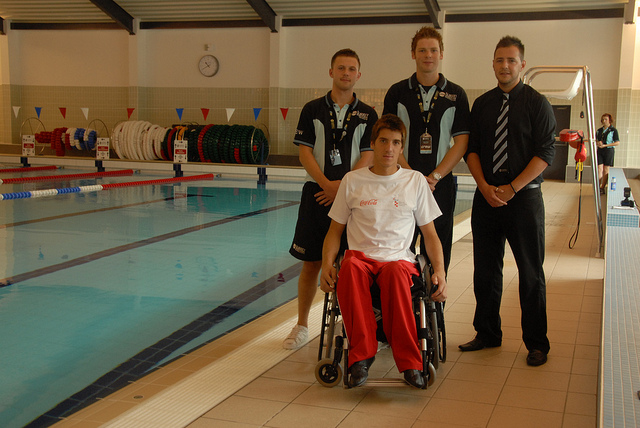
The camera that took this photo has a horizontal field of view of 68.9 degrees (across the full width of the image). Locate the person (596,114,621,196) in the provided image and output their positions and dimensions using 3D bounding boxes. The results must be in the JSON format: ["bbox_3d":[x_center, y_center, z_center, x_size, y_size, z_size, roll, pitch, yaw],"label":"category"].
[{"bbox_3d":[6.038,-1.331,9.877,0.419,1.552,1.769,5,14,31],"label":"person"}]

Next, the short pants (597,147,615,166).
[{"bbox_3d":[6.105,-1.253,10.005,0.314,0.361,0.335,4,14,26],"label":"short pants"}]

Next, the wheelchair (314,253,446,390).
[{"bbox_3d":[0.350,0.603,2.606,0.740,0.690,0.510,0,12,7],"label":"wheelchair"}]

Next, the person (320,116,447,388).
[{"bbox_3d":[0.342,0.165,2.586,0.689,1.379,0.665,0,12,6],"label":"person"}]

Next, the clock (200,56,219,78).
[{"bbox_3d":[-3.483,-4.701,14.718,0.651,0.669,0.091,3,7,9],"label":"clock"}]
